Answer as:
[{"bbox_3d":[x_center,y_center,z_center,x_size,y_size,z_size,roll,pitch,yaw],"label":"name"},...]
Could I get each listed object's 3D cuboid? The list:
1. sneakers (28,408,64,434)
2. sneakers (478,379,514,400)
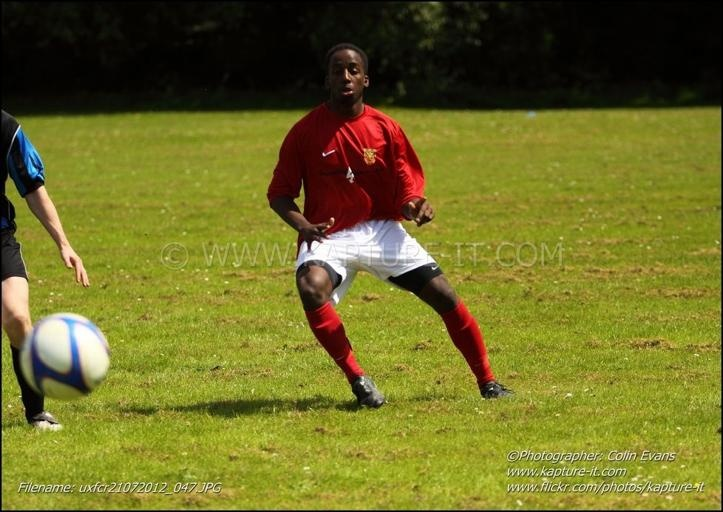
[{"bbox_3d":[-4.154,2.193,17.080,0.442,0.181,0.233,13,32,16],"label":"sneakers"},{"bbox_3d":[1.840,1.817,17.597,0.444,0.186,0.219,-5,15,-6],"label":"sneakers"}]
